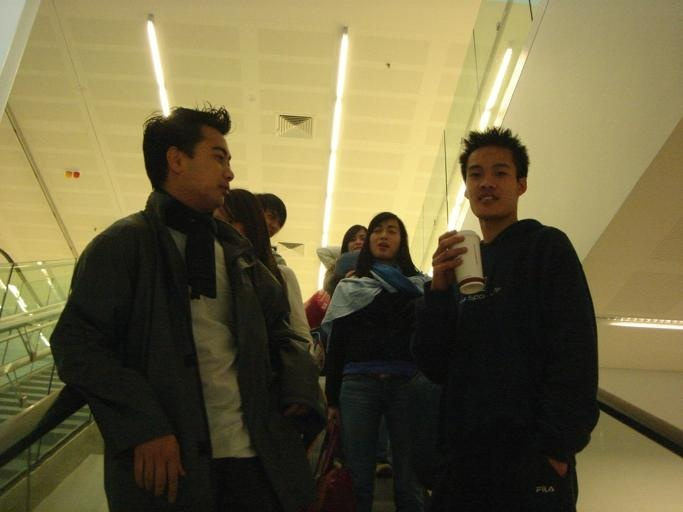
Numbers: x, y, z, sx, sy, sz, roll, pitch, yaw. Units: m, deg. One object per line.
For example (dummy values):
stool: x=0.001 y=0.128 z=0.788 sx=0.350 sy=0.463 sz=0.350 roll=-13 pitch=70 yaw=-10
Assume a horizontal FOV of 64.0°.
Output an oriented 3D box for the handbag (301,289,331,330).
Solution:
handbag: x=-0.112 y=0.215 z=2.137 sx=0.038 sy=0.146 sz=0.116 roll=19 pitch=20 yaw=26
